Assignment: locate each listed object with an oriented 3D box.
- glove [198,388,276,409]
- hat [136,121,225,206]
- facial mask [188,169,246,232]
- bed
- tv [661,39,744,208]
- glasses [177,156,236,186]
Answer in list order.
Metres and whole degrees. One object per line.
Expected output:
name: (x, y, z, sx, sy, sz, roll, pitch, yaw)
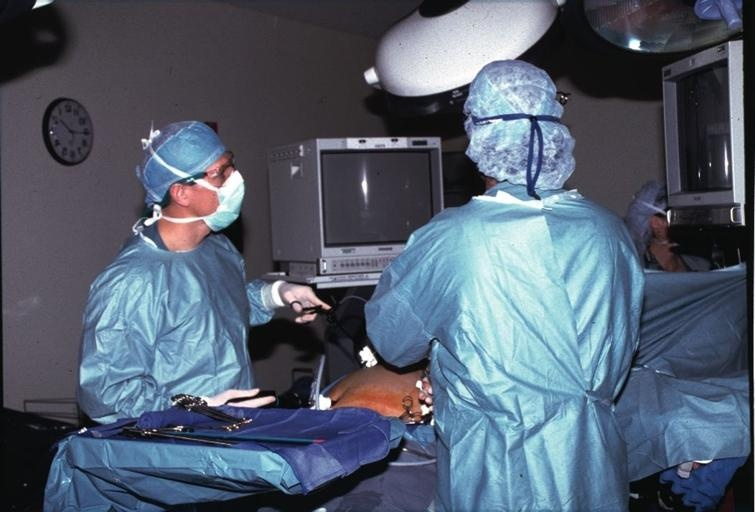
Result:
glove: (-0.468, 0.491, 2.436, 0.244, 0.071, 0.144, -2, 1, -8)
hat: (-0.702, -0.365, 2.696, 0.325, 0.234, 0.247, -32, 31, -2)
facial mask: (-0.575, -0.202, 2.662, 0.204, 0.168, 0.178, -2, 6, -6)
bed: (0.267, 0.548, 2.519, 1.876, 0.663, 1.141, -3, 7, -9)
tv: (1.225, -0.474, 2.681, 0.108, 0.584, 0.362, -3, 2, -20)
glasses: (-0.611, -0.305, 2.633, 0.135, 0.040, 0.133, -20, 10, 2)
